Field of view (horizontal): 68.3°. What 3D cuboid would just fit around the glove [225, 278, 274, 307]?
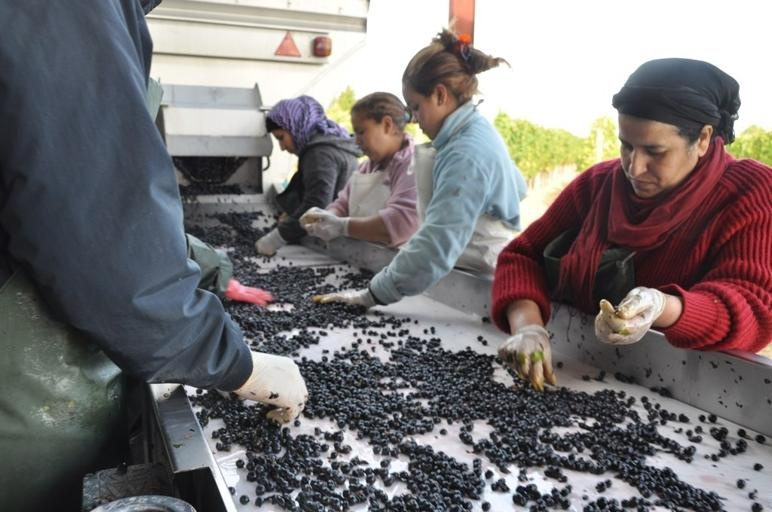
[{"bbox_3d":[-0.841,0.232,3.501,0.241,0.069,0.145,21,29,-13],"label":"glove"}]

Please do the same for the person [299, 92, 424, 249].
[{"bbox_3d":[-0.259,-0.623,4.418,0.957,1.351,1.016,1,11,-5],"label":"person"}]

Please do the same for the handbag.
[{"bbox_3d":[0.976,0.029,2.794,0.285,0.282,0.370,22,36,-17],"label":"handbag"}]
